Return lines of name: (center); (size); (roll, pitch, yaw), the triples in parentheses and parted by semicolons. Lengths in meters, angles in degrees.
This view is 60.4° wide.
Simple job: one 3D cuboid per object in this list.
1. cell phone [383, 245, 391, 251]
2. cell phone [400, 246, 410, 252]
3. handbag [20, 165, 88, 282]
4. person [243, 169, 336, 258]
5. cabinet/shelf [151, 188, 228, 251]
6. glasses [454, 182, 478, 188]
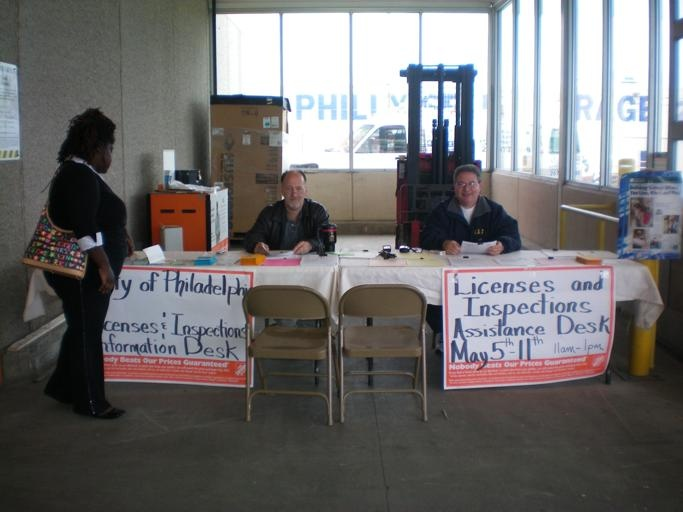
cell phone: (0.356, -0.054, 4.624); (0.066, 0.039, 0.063); (1, -27, 5)
cell phone: (0.516, -0.059, 4.781); (0.067, 0.031, 0.048); (-3, 6, -23)
handbag: (-1.801, -0.160, 3.657); (0.393, 0.642, 0.189); (5, 15, 19)
person: (-0.467, -0.372, 5.033); (0.591, 0.683, 0.812); (1, 12, -2)
cabinet/shelf: (-1.775, -0.416, 6.668); (0.683, 0.715, 0.389); (0, 7, 1)
glasses: (1.083, -0.617, 5.071); (0.179, 0.056, 0.067); (0, 15, 2)
